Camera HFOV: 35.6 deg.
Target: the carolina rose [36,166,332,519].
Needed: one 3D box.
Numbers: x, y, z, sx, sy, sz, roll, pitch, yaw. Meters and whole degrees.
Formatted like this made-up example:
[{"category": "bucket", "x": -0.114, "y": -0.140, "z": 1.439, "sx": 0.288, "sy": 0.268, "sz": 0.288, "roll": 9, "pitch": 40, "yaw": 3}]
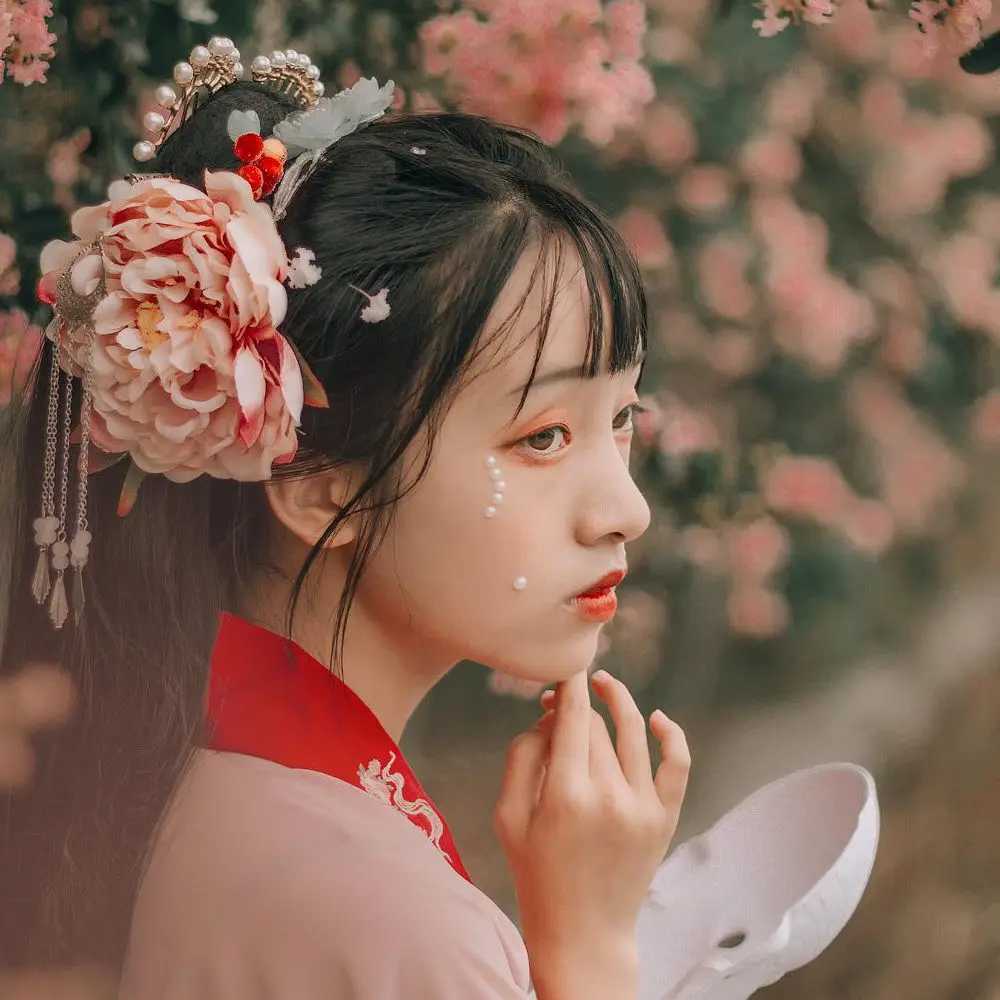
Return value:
[{"category": "carolina rose", "x": -0.296, "y": -0.137, "z": 1.408, "sx": 0.288, "sy": 0.297, "sz": 0.173, "roll": 6, "pitch": 35, "yaw": 0}]
